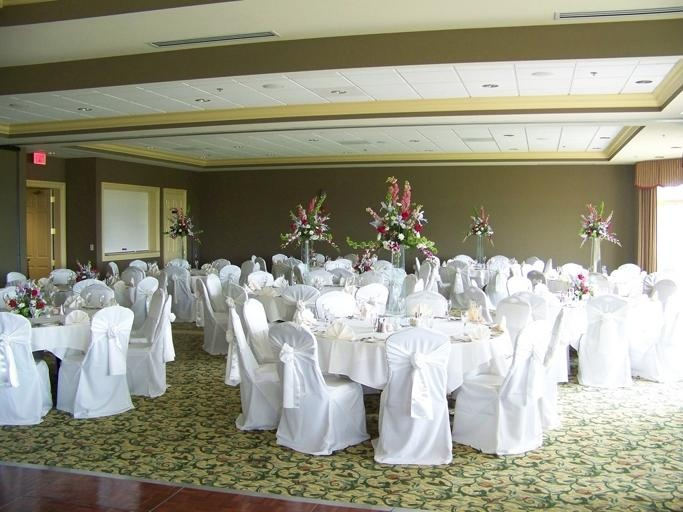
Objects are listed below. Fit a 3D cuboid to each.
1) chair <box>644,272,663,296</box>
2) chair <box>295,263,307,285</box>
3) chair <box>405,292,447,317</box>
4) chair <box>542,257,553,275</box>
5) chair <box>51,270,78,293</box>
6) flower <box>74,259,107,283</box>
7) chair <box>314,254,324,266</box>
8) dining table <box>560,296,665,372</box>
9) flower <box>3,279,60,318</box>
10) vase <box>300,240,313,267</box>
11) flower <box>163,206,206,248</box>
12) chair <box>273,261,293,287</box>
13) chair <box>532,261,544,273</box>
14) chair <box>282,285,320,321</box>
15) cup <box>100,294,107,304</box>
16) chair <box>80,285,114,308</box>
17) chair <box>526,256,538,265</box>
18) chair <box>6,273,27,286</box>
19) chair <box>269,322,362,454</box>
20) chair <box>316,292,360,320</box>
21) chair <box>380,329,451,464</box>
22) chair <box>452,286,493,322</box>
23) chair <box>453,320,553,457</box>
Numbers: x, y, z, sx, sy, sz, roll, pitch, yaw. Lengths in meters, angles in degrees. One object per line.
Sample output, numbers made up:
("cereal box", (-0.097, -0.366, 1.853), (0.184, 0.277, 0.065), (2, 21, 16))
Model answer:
("chair", (5.206, 0.482, 7.933), (0.217, 0.338, 0.108), (7, -15, 34))
("chair", (-0.848, 0.372, 9.848), (0.380, 0.555, 0.374), (0, -4, -6))
("chair", (1.087, 0.596, 6.109), (0.428, 0.306, 0.327), (-1, -5, 17))
("chair", (5.178, 0.242, 11.926), (0.311, 0.464, 0.450), (-5, -10, 28))
("chair", (-5.289, 0.489, 9.064), (0.338, 0.496, 0.403), (0, 3, -27))
("flower", (-5.697, 0.329, 10.858), (0.463, 0.376, 0.468), (0, 2, 12))
("chair", (-0.580, 0.104, 12.533), (0.230, 0.222, 0.278), (1, 6, 3))
("dining table", (3.822, 1.027, 6.765), (1.219, 1.477, 1.059), (5, 4, 27))
("flower", (-4.316, 0.594, 6.635), (0.395, 0.439, 0.414), (-1, 5, -30))
("vase", (-0.638, -0.074, 8.857), (0.177, 0.480, 0.343), (0, 4, -3))
("flower", (-4.246, -0.832, 13.215), (1.166, 1.054, 1.182), (4, 7, 40))
("chair", (-1.155, 0.355, 9.397), (0.327, 0.620, 0.398), (6, 12, 22))
("chair", (4.528, 0.249, 10.957), (0.229, 0.243, 0.240), (-4, 8, -16))
("chair", (-0.640, 0.620, 6.881), (0.550, 0.683, 0.489), (0, -5, 15))
("cup", (-3.257, 0.590, 6.511), (0.055, 0.206, 0.034), (5, -30, -11))
("chair", (-3.376, 0.566, 6.622), (0.358, 0.201, 0.439), (1, 0, -44))
("chair", (4.884, 0.109, 12.186), (0.233, 0.228, 0.185), (-3, -9, 31))
("chair", (-5.697, 0.414, 8.340), (0.209, 0.223, 0.233), (2, 0, -36))
("chair", (-0.239, 1.230, 4.700), (0.794, 1.284, 0.950), (-2, 2, 27))
("chair", (-0.035, 0.594, 5.787), (0.326, 0.493, 0.385), (1, -3, -10))
("chair", (0.685, 1.186, 4.495), (0.789, 1.264, 0.853), (3, 13, 13))
("chair", (2.092, 0.733, 7.523), (0.418, 0.606, 0.515), (-9, 20, 30))
("chair", (1.544, 1.276, 4.745), (0.814, 1.255, 0.935), (1, -5, 18))
